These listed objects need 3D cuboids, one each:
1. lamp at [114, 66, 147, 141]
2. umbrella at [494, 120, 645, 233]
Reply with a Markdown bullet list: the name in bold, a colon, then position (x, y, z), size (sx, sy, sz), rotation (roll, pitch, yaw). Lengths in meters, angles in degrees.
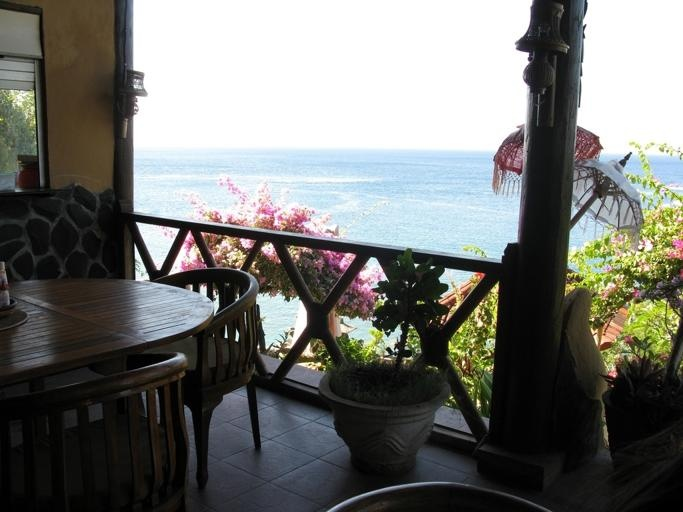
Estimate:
- **lamp**: position (-1.863, -1.350, 4.802), size (0.294, 0.608, 0.185), rotation (-4, 14, -12)
- **umbrella**: position (1.787, -0.563, 4.105), size (0.888, 0.787, 1.310), rotation (-2, 15, -6)
